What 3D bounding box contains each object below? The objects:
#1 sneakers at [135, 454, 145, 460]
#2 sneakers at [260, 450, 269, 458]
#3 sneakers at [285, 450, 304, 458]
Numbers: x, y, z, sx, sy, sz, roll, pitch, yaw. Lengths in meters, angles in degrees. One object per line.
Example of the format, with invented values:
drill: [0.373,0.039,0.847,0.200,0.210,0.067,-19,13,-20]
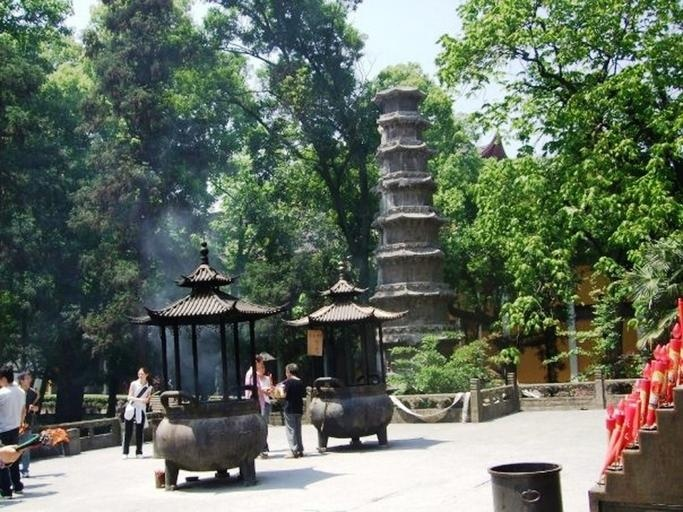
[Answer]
sneakers: [-5.922,5.875,26.515,0.102,0.143,0.343,2,-24,-28]
sneakers: [-2.127,5.431,24.838,0.217,0.246,0.215,0,-4,-9]
sneakers: [-1.292,5.375,24.610,0.164,0.236,0.508,-8,-27,35]
